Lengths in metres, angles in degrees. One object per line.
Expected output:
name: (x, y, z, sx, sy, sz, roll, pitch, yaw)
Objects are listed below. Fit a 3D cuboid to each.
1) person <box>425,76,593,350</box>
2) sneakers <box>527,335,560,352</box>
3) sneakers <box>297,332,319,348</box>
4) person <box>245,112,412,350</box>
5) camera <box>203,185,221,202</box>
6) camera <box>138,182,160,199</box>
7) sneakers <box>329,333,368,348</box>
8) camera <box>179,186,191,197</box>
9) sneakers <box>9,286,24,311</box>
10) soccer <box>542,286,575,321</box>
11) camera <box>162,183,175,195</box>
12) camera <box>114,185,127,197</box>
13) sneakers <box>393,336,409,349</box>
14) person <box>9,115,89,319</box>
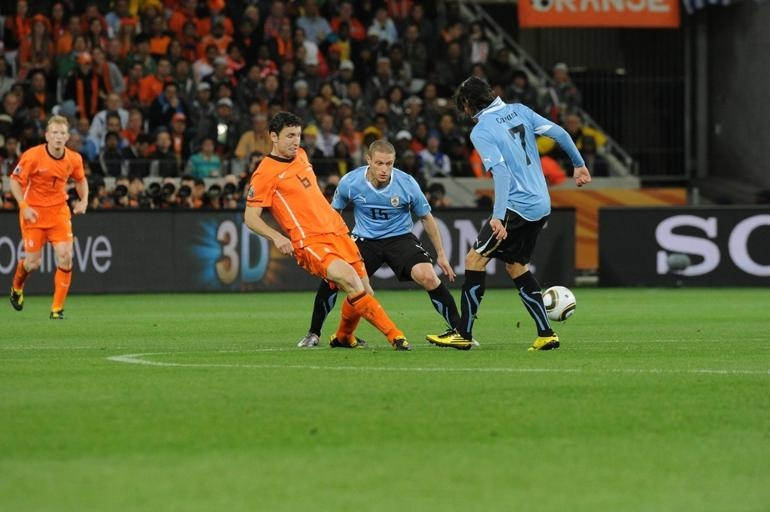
person: (1.262, -0.354, 11.419, 1.557, 3.046, 0.965, -3, 15, -8)
sneakers: (1.669, 0.932, 11.445, 0.408, 0.183, 0.139, -7, 15, 8)
sneakers: (-0.840, 0.955, 11.893, 0.111, 0.127, 0.299, 5, 1, 16)
person: (-0.726, -0.337, 11.232, 1.468, 2.296, 0.712, -1, 15, -2)
camera: (-3.049, -1.097, 18.940, 0.206, 0.328, 0.230, 7, 7, -7)
camera: (-4.172, -1.194, 18.966, 0.259, 0.370, 0.350, 13, -28, -4)
sneakers: (-0.395, 0.926, 11.806, 0.385, 0.175, 0.158, -1, 3, -20)
camera: (-3.539, -1.120, 18.930, 0.188, 0.202, 0.178, -8, -5, 17)
sneakers: (-5.248, 0.616, 15.223, 0.154, 0.364, 0.123, -30, -10, 36)
soccer: (2.002, 0.563, 12.269, 0.297, 0.353, 0.343, -36, -3, 34)
camera: (-3.809, -1.195, 18.857, 0.191, 0.192, 0.178, -19, 6, -7)
camera: (-4.630, -1.141, 18.742, 0.188, 0.197, 0.214, -2, 4, -9)
sneakers: (0.167, 0.925, 11.324, 0.128, 0.119, 0.154, 8, 6, -15)
person: (-4.543, -0.459, 14.426, 1.062, 2.885, 1.010, -5, 15, -15)
